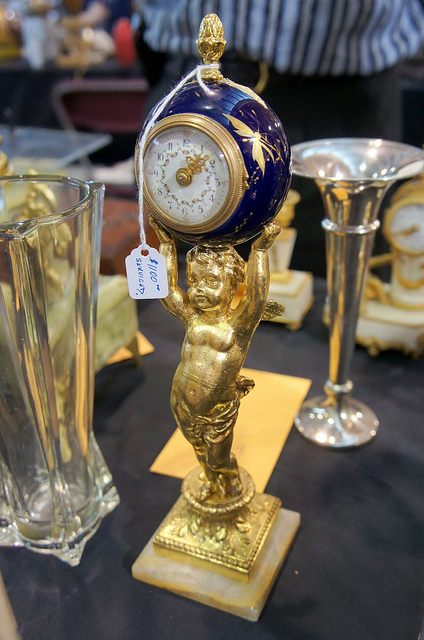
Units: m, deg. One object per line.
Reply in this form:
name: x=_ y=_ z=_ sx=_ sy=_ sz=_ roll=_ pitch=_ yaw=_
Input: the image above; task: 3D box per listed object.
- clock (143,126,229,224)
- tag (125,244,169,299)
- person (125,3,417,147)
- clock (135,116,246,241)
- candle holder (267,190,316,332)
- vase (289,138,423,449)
clock: x=-0.026 y=-0.164 z=0.626 sx=0.097 sy=0.096 sz=0.029 roll=13 pitch=31 yaw=26
tag: x=-0.080 y=-0.060 z=0.716 sx=0.056 sy=0.086 sz=0.044 roll=-9 pitch=31 yaw=-15
person: x=0.275 y=-0.956 z=2.163 sx=1.104 sy=0.452 sz=1.026 roll=15 pitch=32 yaw=24
clock: x=-0.020 y=-0.161 z=0.631 sx=0.142 sy=0.136 sz=0.050 roll=3 pitch=20 yaw=32
candle holder: x=0.206 y=-0.191 z=1.672 sx=0.195 sy=0.339 sz=0.168 roll=1 pitch=2 yaw=13
vase: x=0.257 y=-0.047 z=1.147 sx=0.226 sy=0.585 sz=0.294 roll=4 pitch=30 yaw=7
